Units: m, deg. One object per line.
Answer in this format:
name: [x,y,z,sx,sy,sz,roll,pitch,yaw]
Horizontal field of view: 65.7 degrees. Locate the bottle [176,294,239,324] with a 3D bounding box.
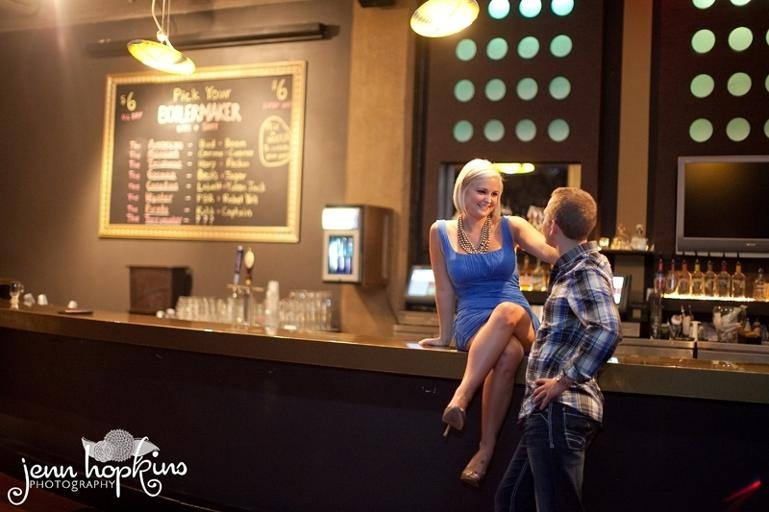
bottle: [-1.720,0.531,5.848,0.653,0.233,0.476,1,-1,28]

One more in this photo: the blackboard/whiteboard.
blackboard/whiteboard: [-1.935,-1.170,6.653,2.055,1.621,0.091,1,-3,14]

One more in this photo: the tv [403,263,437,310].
tv: [0.331,0.303,5.498,0.367,0.548,0.294,0,-34,8]

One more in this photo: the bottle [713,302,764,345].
bottle: [3.133,0.590,5.212,0.508,0.344,0.316,1,1,-17]

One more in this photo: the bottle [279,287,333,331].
bottle: [-0.774,0.525,5.877,0.420,0.415,0.418,-2,3,-37]

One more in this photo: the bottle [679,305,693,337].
bottle: [2.721,0.582,5.370,0.098,0.285,0.315,2,1,26]
